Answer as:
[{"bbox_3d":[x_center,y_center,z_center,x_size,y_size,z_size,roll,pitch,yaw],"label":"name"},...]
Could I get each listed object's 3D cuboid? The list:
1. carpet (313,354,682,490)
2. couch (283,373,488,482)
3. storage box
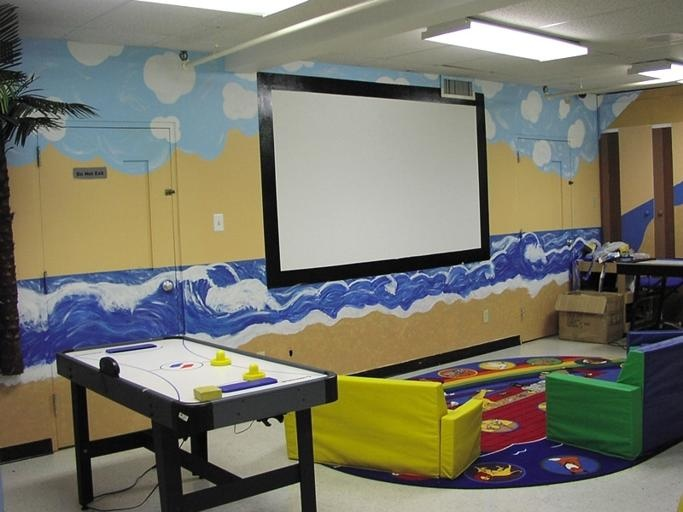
[{"bbox_3d":[1.570,1.421,5.056,1.683,0.008,1.795,-32,31,-19],"label":"carpet"},{"bbox_3d":[0.399,0.959,4.210,1.548,0.821,0.761,1,7,26],"label":"couch"},{"bbox_3d":[3.639,0.893,7.973,0.575,0.648,0.860,-1,-1,-30],"label":"storage box"}]
